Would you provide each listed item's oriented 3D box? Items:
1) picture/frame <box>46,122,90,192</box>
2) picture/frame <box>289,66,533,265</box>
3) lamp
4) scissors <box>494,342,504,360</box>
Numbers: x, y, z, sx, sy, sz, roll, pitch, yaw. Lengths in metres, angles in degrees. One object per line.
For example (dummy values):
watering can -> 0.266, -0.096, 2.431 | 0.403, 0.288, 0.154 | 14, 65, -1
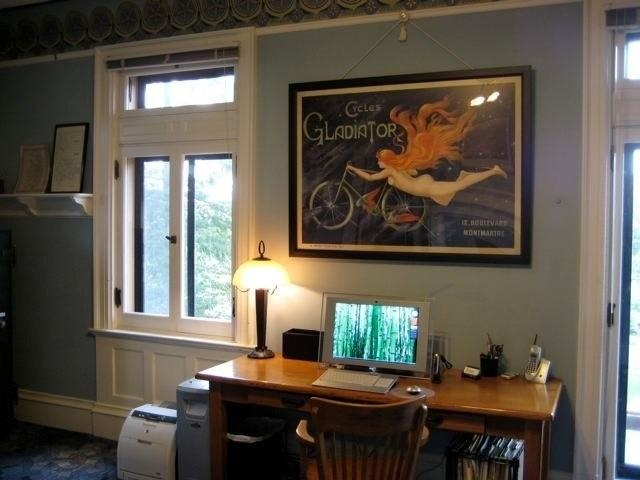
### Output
picture/frame -> -1.992, -0.667, 4.431 | 0.323, 0.562, 0.053 | 2, -1, 23
picture/frame -> 0.670, -0.506, 3.667 | 1.292, 1.020, 0.051 | 1, 4, 19
lamp -> -0.418, 0.403, 3.850 | 0.381, 0.663, 0.382 | 3, -1, -8
scissors -> 1.124, 0.714, 3.521 | 0.079, 0.091, 0.089 | 0, -10, 13
